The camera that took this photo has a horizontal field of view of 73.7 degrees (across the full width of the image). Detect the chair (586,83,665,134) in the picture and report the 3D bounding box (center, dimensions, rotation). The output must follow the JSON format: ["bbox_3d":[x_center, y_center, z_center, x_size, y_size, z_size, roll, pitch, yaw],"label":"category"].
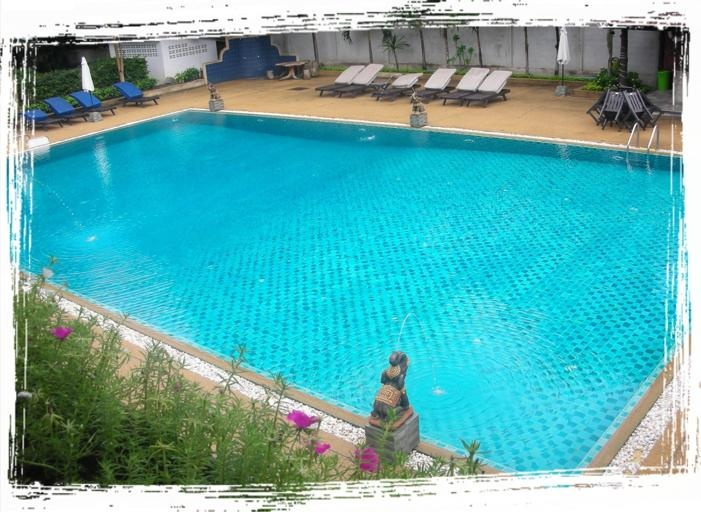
[{"bbox_3d":[7.975,-4.266,13.564,1.701,1.211,1.316,7,21,27],"label":"chair"}]

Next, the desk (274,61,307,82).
[{"bbox_3d":[-3.473,-10.524,26.864,1.408,0.904,2.438,-11,20,-25],"label":"desk"}]
